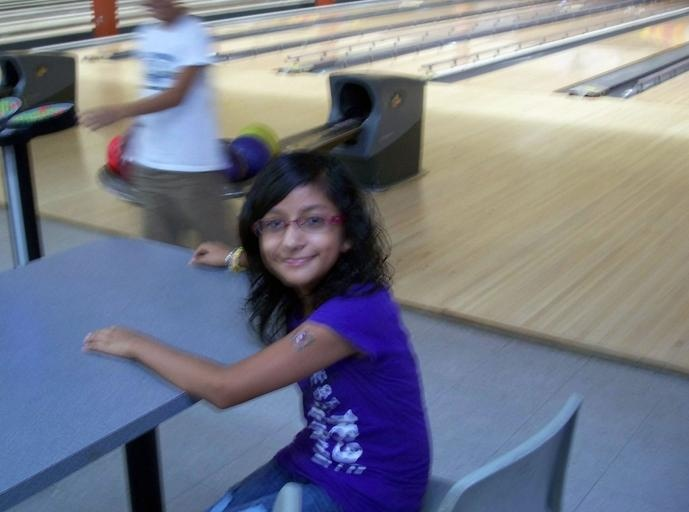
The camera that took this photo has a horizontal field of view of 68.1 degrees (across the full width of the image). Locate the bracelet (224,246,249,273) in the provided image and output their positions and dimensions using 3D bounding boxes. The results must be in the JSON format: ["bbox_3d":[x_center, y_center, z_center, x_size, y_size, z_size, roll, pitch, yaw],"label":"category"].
[{"bbox_3d":[-0.186,0.007,0.876,0.041,0.016,0.042,-17,67,-15],"label":"bracelet"}]
